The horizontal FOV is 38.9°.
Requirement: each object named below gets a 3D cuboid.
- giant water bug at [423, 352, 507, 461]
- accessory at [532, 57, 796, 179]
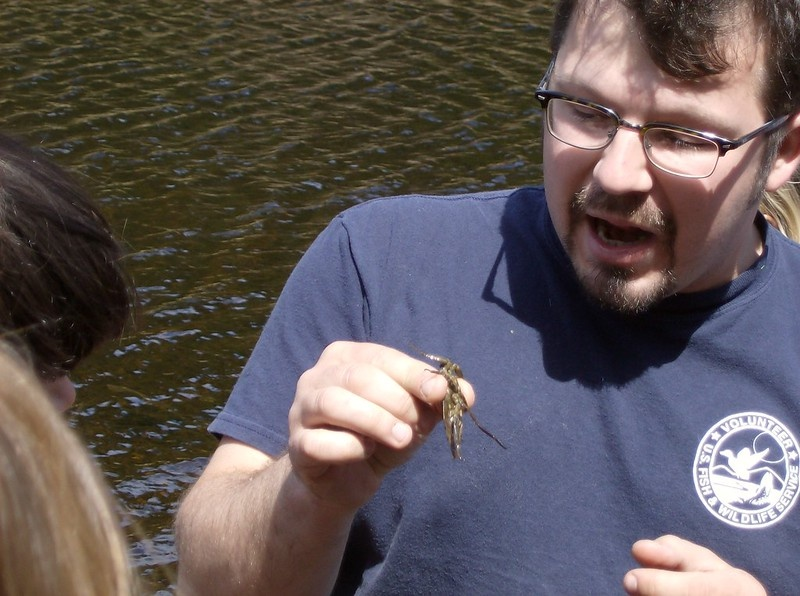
[{"bbox_3d":[0.204,0.411,4.124,0.276,0.151,0.478,9,34,-14],"label":"giant water bug"},{"bbox_3d":[1.000,-0.675,4.570,0.986,0.206,0.344,11,60,10],"label":"accessory"}]
